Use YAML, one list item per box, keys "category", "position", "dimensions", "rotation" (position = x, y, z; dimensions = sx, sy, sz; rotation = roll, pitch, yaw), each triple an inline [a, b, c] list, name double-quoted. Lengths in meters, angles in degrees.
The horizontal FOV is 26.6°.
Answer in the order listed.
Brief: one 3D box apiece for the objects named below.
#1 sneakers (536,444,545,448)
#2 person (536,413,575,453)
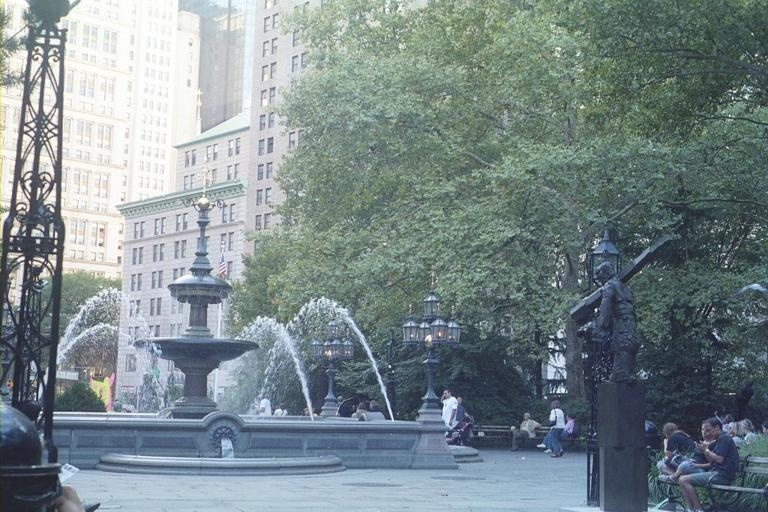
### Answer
- category: "sneakers"
  position: [7.574, 9.155, 78.043]
  dimensions: [0.159, 0.168, 0.457]
  rotation: [2, -3, -39]
- category: "person"
  position: [8.232, 8.505, 77.271]
  dimensions: [0.756, 1.134, 1.925]
  rotation: [7, -12, -27]
